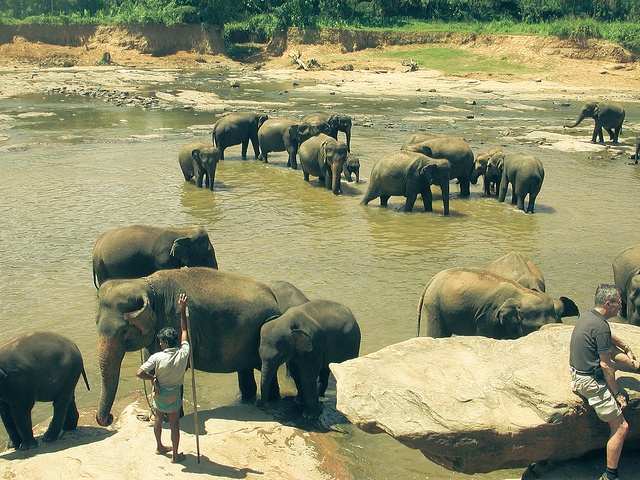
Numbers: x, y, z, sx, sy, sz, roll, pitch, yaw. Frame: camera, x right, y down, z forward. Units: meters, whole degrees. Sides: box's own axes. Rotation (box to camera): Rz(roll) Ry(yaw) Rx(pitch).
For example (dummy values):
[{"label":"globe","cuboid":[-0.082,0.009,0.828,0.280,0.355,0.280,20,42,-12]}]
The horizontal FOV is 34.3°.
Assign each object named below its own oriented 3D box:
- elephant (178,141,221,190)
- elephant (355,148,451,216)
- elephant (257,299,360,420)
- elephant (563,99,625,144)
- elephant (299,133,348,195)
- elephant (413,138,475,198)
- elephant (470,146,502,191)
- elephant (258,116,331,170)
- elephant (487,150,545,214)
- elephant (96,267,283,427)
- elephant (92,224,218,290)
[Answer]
[{"label":"elephant","cuboid":[-3.951,-2.451,34.260,1.029,1.582,2.408,-8,15,-28]},{"label":"elephant","cuboid":[2.299,-1.920,32.848,2.914,1.908,1.615,1,12,16]},{"label":"elephant","cuboid":[-0.506,2.866,25.256,1.383,2.603,3.302,8,11,39]},{"label":"elephant","cuboid":[10.131,-4.760,41.736,1.408,1.605,2.558,2,13,5]},{"label":"elephant","cuboid":[-0.111,-2.507,34.415,1.260,1.863,2.454,-7,14,-23]},{"label":"elephant","cuboid":[3.273,-2.646,33.695,2.139,1.531,1.101,0,14,3]},{"label":"elephant","cuboid":[4.710,-2.419,33.622,0.671,0.857,1.339,-7,19,-5]},{"label":"elephant","cuboid":[-1.389,-3.542,36.327,2.940,1.708,1.252,4,14,26]},{"label":"elephant","cuboid":[5.432,-1.898,33.052,1.101,1.728,2.329,-3,16,-28]},{"label":"elephant","cuboid":[-3.114,2.570,25.438,5.111,3.362,2.335,-1,3,-36]},{"label":"elephant","cuboid":[-4.136,0.286,26.937,2.535,1.824,1.528,-2,26,-4]}]
